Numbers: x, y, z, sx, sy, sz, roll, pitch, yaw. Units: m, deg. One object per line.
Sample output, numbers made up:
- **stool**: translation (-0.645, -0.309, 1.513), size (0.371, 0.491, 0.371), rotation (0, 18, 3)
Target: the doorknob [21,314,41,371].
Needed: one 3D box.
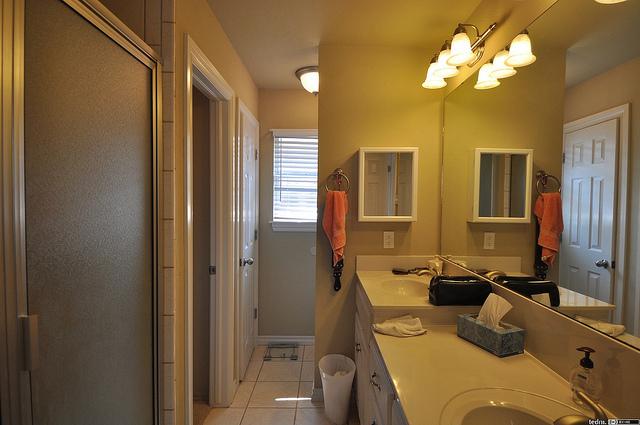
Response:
- **doorknob**: translation (-1.068, 0.478, 1.697), size (0.060, 0.208, 0.025), rotation (-2, 2, -43)

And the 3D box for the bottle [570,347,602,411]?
- **bottle**: translation (1.093, 0.682, 1.886), size (0.113, 0.251, 0.133), rotation (0, 2, 31)
